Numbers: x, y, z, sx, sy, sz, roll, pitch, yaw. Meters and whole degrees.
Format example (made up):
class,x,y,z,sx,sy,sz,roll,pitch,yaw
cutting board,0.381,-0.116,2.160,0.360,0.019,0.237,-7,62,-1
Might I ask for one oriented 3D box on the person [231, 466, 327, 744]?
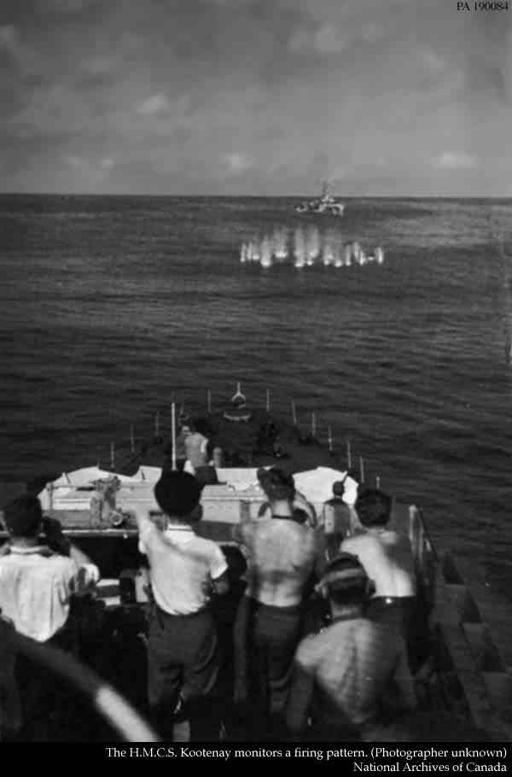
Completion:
class,x,y,z,sx,sy,sz,roll,pitch,yaw
person,0.061,0.876,4.650,0.355,1.164,0.346,4,20,-4

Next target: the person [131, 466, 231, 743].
class,x,y,z,sx,sy,sz,roll,pitch,yaw
person,-0.289,0.815,4.404,0.406,1.112,0.350,12,26,25
